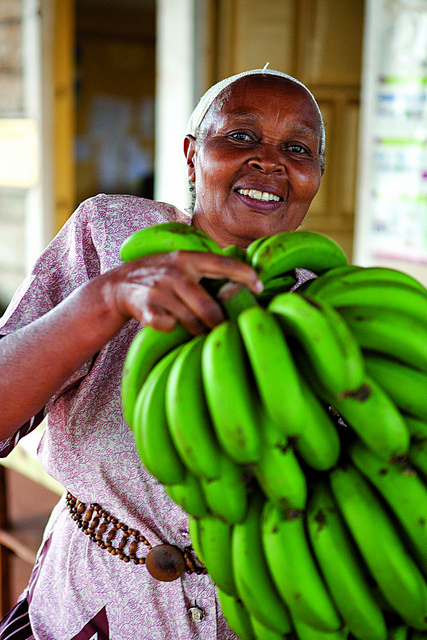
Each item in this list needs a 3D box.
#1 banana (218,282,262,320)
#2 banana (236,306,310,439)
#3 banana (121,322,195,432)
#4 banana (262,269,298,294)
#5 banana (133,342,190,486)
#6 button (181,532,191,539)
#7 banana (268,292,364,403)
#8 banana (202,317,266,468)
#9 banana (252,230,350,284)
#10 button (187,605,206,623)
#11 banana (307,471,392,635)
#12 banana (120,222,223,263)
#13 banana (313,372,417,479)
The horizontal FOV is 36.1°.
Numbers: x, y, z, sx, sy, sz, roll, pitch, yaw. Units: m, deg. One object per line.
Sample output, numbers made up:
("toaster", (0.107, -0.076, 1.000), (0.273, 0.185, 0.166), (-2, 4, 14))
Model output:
("banana", (0.035, -0.025, 0.886), (0.031, 0.043, 0.026), (-40, 12, 19))
("banana", (0.072, 0.067, 0.827), (0.055, 0.157, 0.100), (-2, 11, -35))
("banana", (-0.082, 0.079, 0.926), (0.040, 0.139, 0.116), (7, 25, 33))
("banana", (0.101, -0.061, 0.985), (0.023, 0.031, 0.098), (1, 16, 36))
("banana", (-0.074, 0.143, 0.873), (0.047, 0.139, 0.116), (-1, -9, -15))
("button", (-0.052, 0.400, 1.220), (0.008, 0.015, 0.004), (-44, 0, 8))
("banana", (0.133, 0.019, 0.851), (0.090, 0.059, 0.201), (-31, 37, 2))
("banana", (0.007, 0.090, 0.876), (0.073, 0.199, 0.063), (8, -28, -43))
("banana", (0.132, -0.094, 0.996), (0.195, 0.079, 0.082), (-3, 12, -41))
("button", (-0.031, 0.534, 1.190), (0.026, 0.030, 0.009), (-19, 5, 7))
("banana", (0.179, 0.307, 0.861), (0.055, 0.222, 0.079), (-26, -11, 15))
("banana", (-0.066, -0.109, 0.959), (0.145, 0.055, 0.063), (10, 10, 34))
("banana", (0.198, 0.133, 0.843), (0.041, 0.156, 0.056), (-42, 6, -23))
